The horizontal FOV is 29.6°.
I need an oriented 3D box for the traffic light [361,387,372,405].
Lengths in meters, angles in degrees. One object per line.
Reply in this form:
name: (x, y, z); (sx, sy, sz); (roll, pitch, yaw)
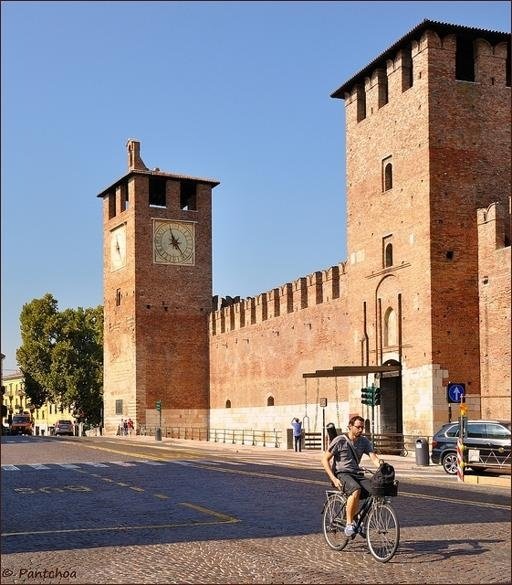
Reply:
traffic light: (3.682, 3.382, 31.367); (0.496, 0.622, 0.883); (-2, -11, 4)

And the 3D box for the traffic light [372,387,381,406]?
traffic light: (3.891, 3.353, 31.131); (0.159, 0.534, 0.470); (-4, -11, 15)

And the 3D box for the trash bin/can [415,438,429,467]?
trash bin/can: (4.524, 4.359, 26.323); (0.340, 0.763, 0.511); (-2, -10, 5)

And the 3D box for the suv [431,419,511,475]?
suv: (5.058, 3.698, 23.180); (0.982, 0.936, 2.022); (7, -15, -42)

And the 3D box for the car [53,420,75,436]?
car: (-14.840, 10.561, 75.067); (1.012, 1.015, 1.861); (0, 2, -17)

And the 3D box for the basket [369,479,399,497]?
basket: (1.383, 2.106, 10.384); (0.207, 0.123, 0.158); (1, -3, -26)

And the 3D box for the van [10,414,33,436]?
van: (-18.247, 10.261, 75.833); (1.664, 1.770, 3.078); (1, -18, -8)

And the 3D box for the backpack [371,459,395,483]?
backpack: (1.377, 1.940, 10.476); (0.230, 0.245, 0.172); (-5, -1, 8)
